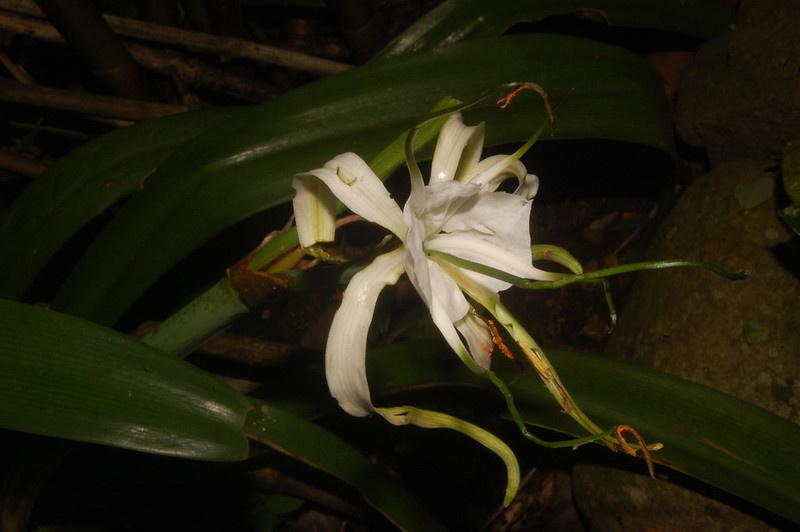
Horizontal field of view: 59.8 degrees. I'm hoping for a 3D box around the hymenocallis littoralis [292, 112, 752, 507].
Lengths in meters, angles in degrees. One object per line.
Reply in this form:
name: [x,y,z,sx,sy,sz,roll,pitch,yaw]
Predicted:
hymenocallis littoralis: [0.167,0.117,1.507,0.659,0.751,0.662,-28,65,-4]
